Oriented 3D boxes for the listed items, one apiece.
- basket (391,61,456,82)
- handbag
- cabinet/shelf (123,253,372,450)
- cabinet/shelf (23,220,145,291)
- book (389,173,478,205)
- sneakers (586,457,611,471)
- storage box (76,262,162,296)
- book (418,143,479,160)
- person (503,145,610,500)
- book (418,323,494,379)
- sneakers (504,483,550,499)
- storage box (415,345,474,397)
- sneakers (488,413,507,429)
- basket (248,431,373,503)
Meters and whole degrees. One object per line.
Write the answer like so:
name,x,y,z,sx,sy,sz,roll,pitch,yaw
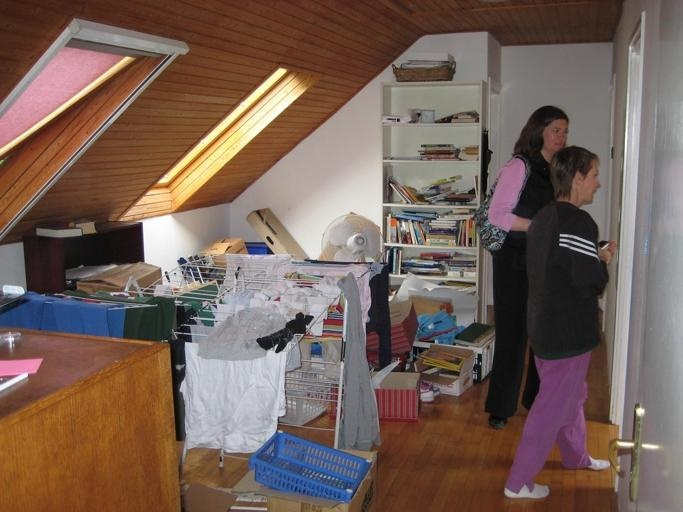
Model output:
basket,0.816,-1.785,5.426,0.452,0.135,0.256,1,8,16
handbag,0.894,-0.313,3.200,0.311,0.493,0.132,1,22,-37
cabinet/shelf,-0.268,0.598,2.974,0.867,0.731,1.176,3,15,11
cabinet/shelf,-2.183,0.007,4.548,0.201,0.489,0.550,5,13,21
book,0.945,-0.694,5.789,0.919,0.289,0.421,2,12,12
sneakers,1.428,1.159,3.066,0.184,0.067,0.057,-4,43,10
storage box,-1.829,0.195,4.584,0.437,0.154,0.463,1,11,27
book,1.089,-1.047,5.555,0.600,0.153,0.231,2,12,11
person,1.092,0.360,2.727,0.400,1.762,0.442,6,14,26
book,0.920,0.691,4.305,0.456,0.178,0.455,6,19,27
sneakers,0.958,1.210,2.812,0.194,0.069,0.095,-1,9,3
storage box,0.741,0.845,4.062,0.360,0.251,0.432,5,11,26
sneakers,0.996,1.058,3.503,0.128,0.113,0.076,0,3,32
basket,-0.139,0.937,2.420,0.389,0.106,0.250,13,22,13
